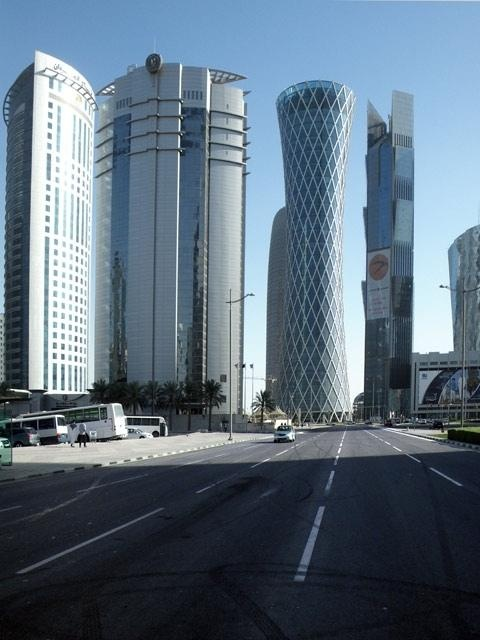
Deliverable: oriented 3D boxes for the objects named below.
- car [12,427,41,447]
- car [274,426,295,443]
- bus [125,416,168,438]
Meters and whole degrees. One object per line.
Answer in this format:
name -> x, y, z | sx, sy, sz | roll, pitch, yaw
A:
car -> -13.225, 7.316, 45.892 | 1.551, 0.982, 1.023 | 3, -8, 12
car -> 2.717, 7.214, 46.455 | 1.233, 0.925, 1.608 | -3, -6, 1
bus -> -8.573, 9.894, 67.726 | 3.893, 2.237, 1.671 | -1, -2, -14
